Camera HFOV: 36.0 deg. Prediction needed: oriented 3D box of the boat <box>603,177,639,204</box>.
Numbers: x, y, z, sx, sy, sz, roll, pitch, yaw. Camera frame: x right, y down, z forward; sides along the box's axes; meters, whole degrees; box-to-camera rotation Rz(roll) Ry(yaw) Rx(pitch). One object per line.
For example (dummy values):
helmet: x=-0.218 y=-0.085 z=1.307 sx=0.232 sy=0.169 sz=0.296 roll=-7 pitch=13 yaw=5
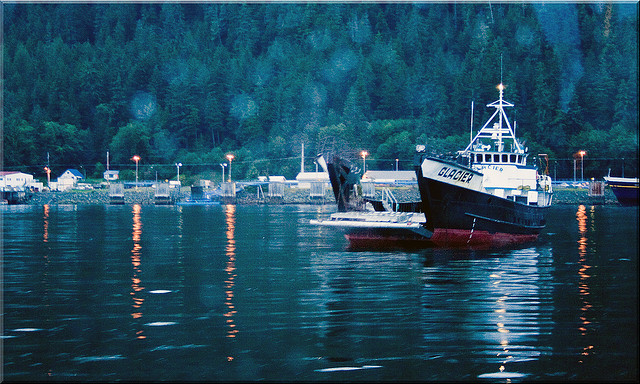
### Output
boat: x=75.272 y=-0.347 z=245.305 sx=6.962 sy=6.822 sz=4.661 roll=1 pitch=6 yaw=33
